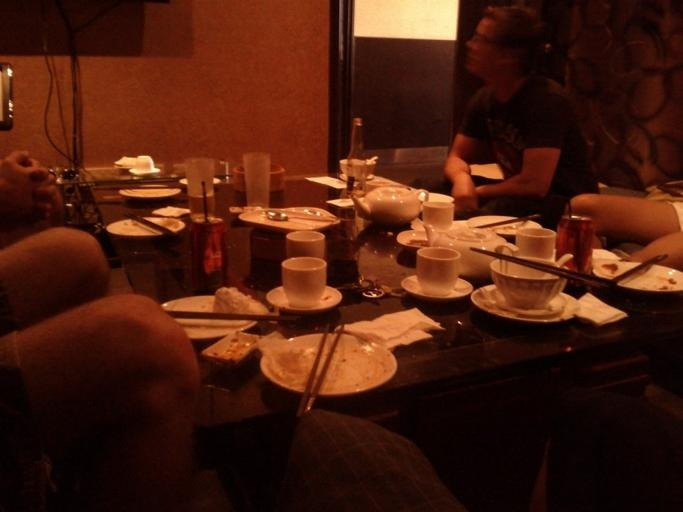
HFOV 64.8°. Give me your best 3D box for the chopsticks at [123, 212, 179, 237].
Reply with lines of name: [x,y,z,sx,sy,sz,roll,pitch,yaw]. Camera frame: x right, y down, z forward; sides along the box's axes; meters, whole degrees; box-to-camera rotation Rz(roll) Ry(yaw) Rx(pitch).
chopsticks: [-0.534,-0.085,1.519,0.026,0.025,0.222,-7,20,-37]

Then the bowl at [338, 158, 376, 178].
bowl: [0.073,-0.376,2.252,0.147,0.089,0.146,0,20,0]

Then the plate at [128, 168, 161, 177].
plate: [-0.905,-0.385,2.496,0.109,0.023,0.110,-8,14,-39]
